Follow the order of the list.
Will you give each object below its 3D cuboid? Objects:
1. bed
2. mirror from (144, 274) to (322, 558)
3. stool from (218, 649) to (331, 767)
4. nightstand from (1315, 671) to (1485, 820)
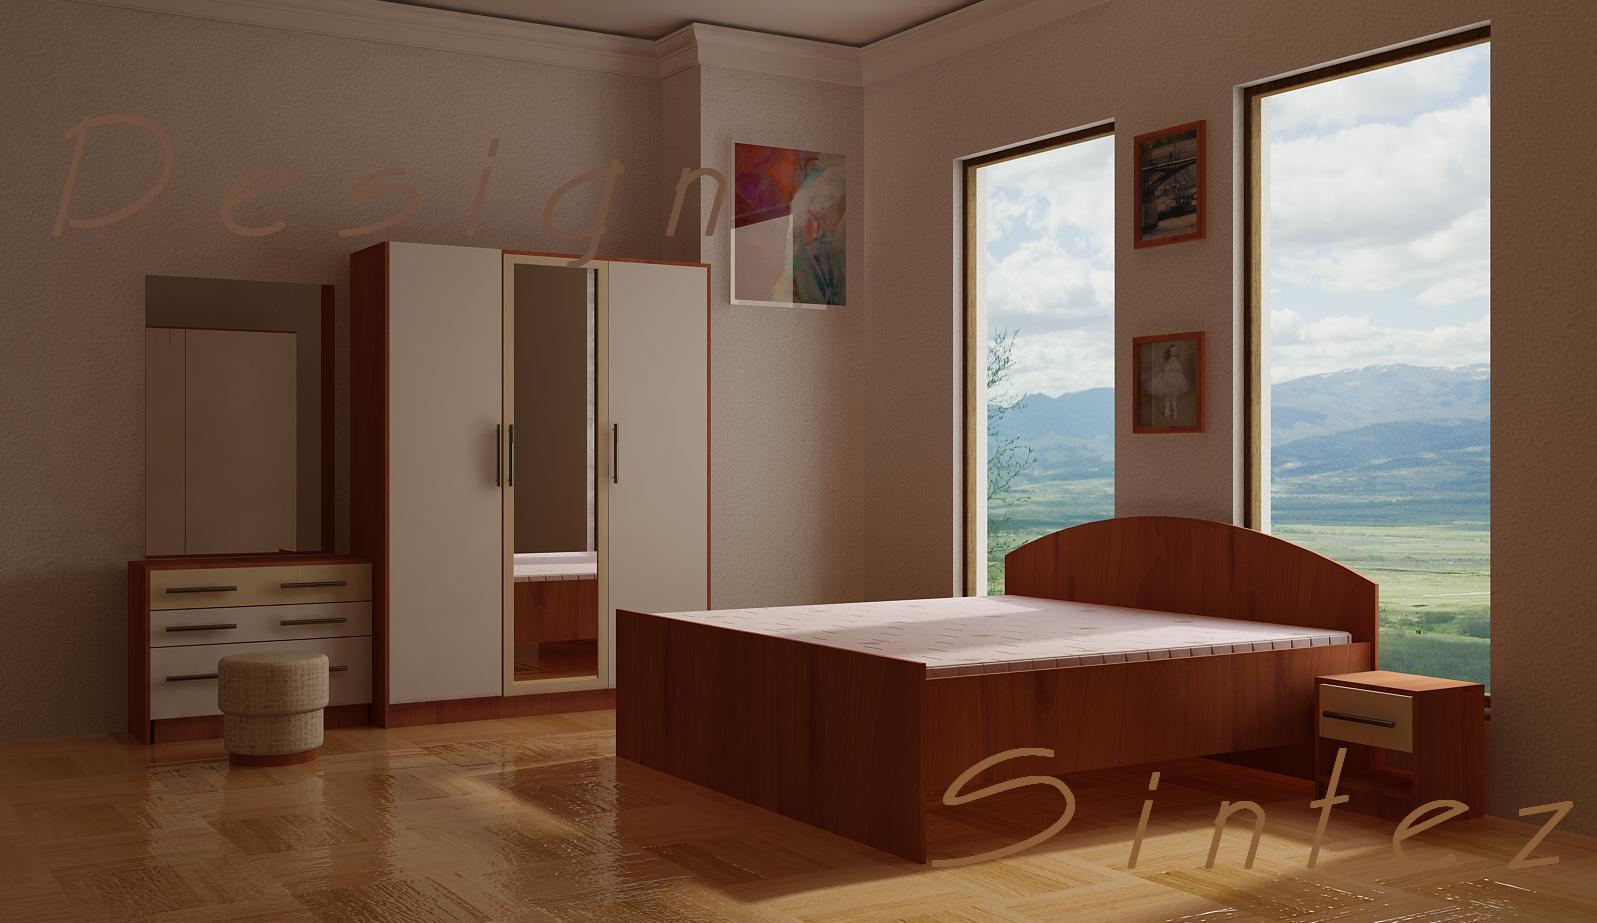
[{"bbox_3d":[1.131,0.995,5.014,2.195,0.884,2.039,0,0,-36],"label":"bed"},{"bbox_3d":[-3.245,-0.275,6.319,0.915,1.614,0.216,-1,5,-16],"label":"mirror"},{"bbox_3d":[-2.758,1.320,5.614,0.534,0.476,0.502,-5,-10,9],"label":"stool"},{"bbox_3d":[2.775,1.322,4.912,0.508,0.499,0.598,3,-8,-14],"label":"nightstand"}]
